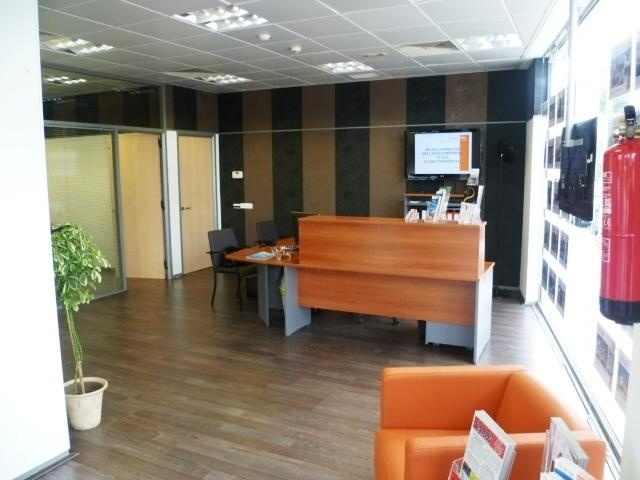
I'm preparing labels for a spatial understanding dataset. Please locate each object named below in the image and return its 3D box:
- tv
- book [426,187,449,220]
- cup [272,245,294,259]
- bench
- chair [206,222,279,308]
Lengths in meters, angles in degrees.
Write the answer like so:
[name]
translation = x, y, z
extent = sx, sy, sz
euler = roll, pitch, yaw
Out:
[tv]
translation = 2.084, -1.444, 8.085
extent = 1.188, 0.802, 0.121
euler = 3, 10, 24
[book]
translation = 1.345, -0.416, 5.504
extent = 0.232, 0.362, 0.359
euler = 2, 12, 13
[cup]
translation = -0.507, 0.158, 6.481
extent = 0.234, 0.113, 0.176
euler = 3, 5, 24
[bench]
translation = 0.516, 0.531, 6.149
extent = 2.971, 1.478, 1.069
euler = 3, 4, 20
[chair]
translation = -1.244, 0.305, 8.110
extent = 1.080, 1.857, 1.208
euler = 2, 5, 26
